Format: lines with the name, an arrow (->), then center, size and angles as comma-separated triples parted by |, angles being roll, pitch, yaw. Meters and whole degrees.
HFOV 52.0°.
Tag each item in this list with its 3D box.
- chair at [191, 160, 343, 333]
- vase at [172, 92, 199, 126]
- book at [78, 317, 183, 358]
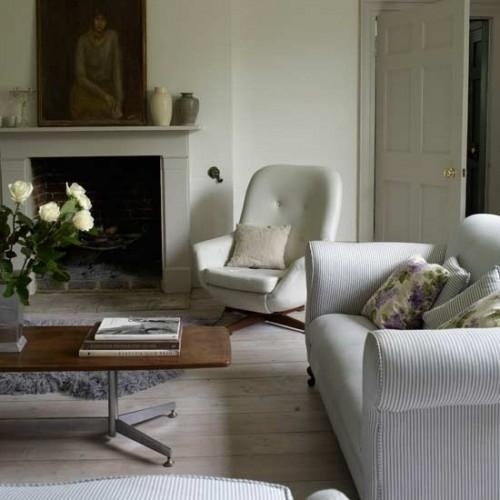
chair -> 0.143, 0.003, 3.310 | 0.915, 1.039, 0.890 | -9, 15, -37
vase -> -0.496, -1.096, 3.972 | 0.213, 0.262, 0.224 | 0, 9, -2
book -> -0.405, 0.296, 1.804 | 0.332, 0.073, 0.291 | -1, 10, -4
